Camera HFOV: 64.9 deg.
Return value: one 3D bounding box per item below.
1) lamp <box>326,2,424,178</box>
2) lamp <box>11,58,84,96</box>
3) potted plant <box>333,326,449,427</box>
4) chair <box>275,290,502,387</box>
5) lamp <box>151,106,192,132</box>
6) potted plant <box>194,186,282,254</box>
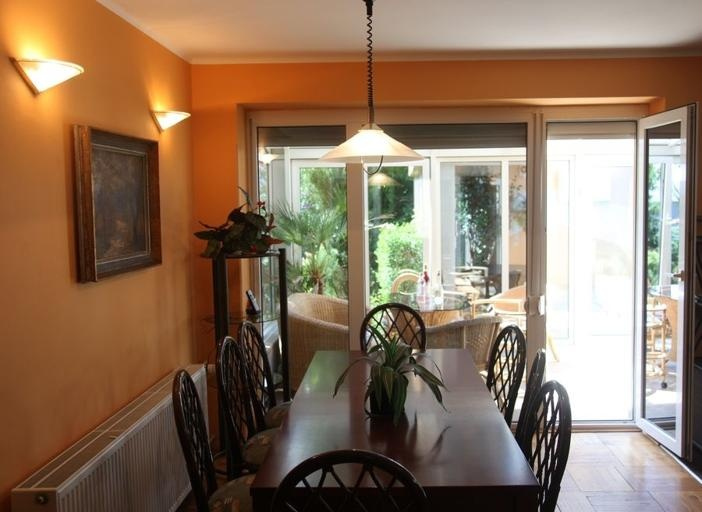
[{"bbox_3d":[0.125,-0.983,3.364,0.571,1.060,1.324,-2,14,7],"label":"lamp"},{"bbox_3d":[-1.423,-0.869,2.653,0.246,0.165,0.241,1,15,20],"label":"lamp"},{"bbox_3d":[0.250,0.639,2.955,0.472,0.343,0.484,1,-2,-4],"label":"potted plant"},{"bbox_3d":[0.243,0.552,4.655,1.151,0.518,0.908,-3,3,2],"label":"chair"},{"bbox_3d":[-1.210,-0.929,3.664,0.166,0.071,0.192,-3,-16,3],"label":"lamp"},{"bbox_3d":[-0.806,-0.220,4.002,0.536,0.363,0.550,0,-6,-12],"label":"potted plant"}]
